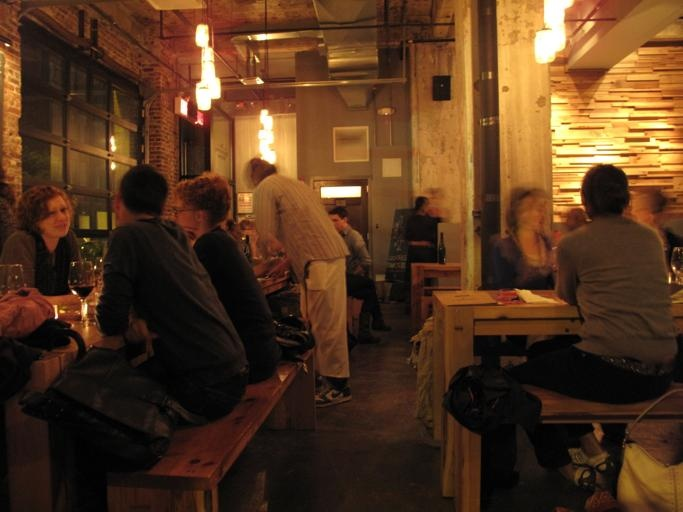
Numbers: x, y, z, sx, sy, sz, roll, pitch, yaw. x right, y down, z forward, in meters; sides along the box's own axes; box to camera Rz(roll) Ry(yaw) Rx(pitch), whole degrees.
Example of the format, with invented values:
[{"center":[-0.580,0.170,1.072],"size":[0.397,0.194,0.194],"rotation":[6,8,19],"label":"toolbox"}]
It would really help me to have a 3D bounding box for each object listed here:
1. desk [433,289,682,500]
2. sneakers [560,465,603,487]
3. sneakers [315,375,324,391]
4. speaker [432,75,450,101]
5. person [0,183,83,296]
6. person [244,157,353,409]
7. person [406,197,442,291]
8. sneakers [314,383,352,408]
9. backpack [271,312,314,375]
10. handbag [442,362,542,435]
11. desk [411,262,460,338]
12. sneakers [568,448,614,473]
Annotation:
[{"center":[1.263,0.929,4.296],"size":[1.728,1.335,1.136],"rotation":[-1,0,1],"label":"desk"},{"center":[1.460,1.352,4.053],"size":[0.204,0.128,0.082],"rotation":[6,9,36],"label":"sneakers"},{"center":[-0.192,1.106,5.748],"size":[0.064,0.090,0.122],"rotation":[1,-2,9],"label":"sneakers"},{"center":[1.700,-2.860,11.316],"size":[0.313,0.422,0.099],"rotation":[1,10,3],"label":"speaker"},{"center":[-2.283,-0.106,5.066],"size":[0.563,0.833,0.398],"rotation":[-7,13,-36],"label":"person"},{"center":[-0.342,-0.009,5.463],"size":[0.600,1.847,0.658],"rotation":[-26,30,-37],"label":"person"},{"center":[1.309,-0.144,10.638],"size":[0.464,1.756,0.465],"rotation":[3,28,18],"label":"person"},{"center":[-0.087,1.160,5.476],"size":[0.330,0.156,0.125],"rotation":[3,-6,-33],"label":"sneakers"},{"center":[-0.368,0.585,4.645],"size":[0.234,0.131,0.315],"rotation":[-5,25,-38],"label":"backpack"},{"center":[0.843,0.806,3.699],"size":[0.444,0.383,0.195],"rotation":[16,-9,12],"label":"handbag"},{"center":[1.116,0.551,8.197],"size":[0.757,0.821,0.792],"rotation":[-1,-2,3],"label":"desk"},{"center":[1.516,1.254,4.061],"size":[0.204,0.096,0.125],"rotation":[6,0,24],"label":"sneakers"}]
